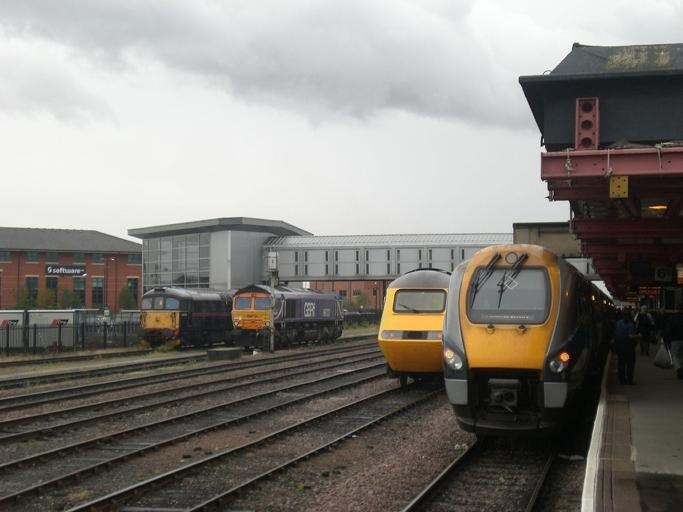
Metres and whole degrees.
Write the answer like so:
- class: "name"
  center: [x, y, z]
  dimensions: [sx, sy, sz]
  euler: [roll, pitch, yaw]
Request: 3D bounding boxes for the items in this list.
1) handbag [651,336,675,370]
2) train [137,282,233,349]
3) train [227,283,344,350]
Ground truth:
- class: "handbag"
  center: [8.428, 2.568, 17.593]
  dimensions: [0.422, 0.634, 1.619]
  euler: [-3, -2, 26]
- class: "train"
  center: [-8.346, 3.440, 38.343]
  dimensions: [2.810, 3.526, 6.067]
  euler: [-4, -2, 38]
- class: "train"
  center: [-3.287, 3.477, 38.690]
  dimensions: [3.247, 3.732, 10.562]
  euler: [-3, -2, 20]
